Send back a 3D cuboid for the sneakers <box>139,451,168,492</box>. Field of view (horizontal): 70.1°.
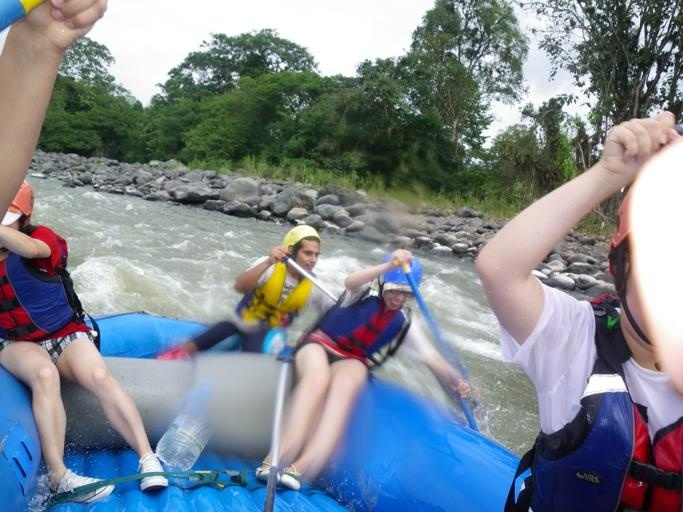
[{"bbox_3d":[-0.851,0.966,2.180,0.086,0.108,0.251,2,-20,-22],"label":"sneakers"}]

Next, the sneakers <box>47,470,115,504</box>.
[{"bbox_3d":[-1.132,1.008,2.106,0.233,0.118,0.094,-4,31,9],"label":"sneakers"}]
